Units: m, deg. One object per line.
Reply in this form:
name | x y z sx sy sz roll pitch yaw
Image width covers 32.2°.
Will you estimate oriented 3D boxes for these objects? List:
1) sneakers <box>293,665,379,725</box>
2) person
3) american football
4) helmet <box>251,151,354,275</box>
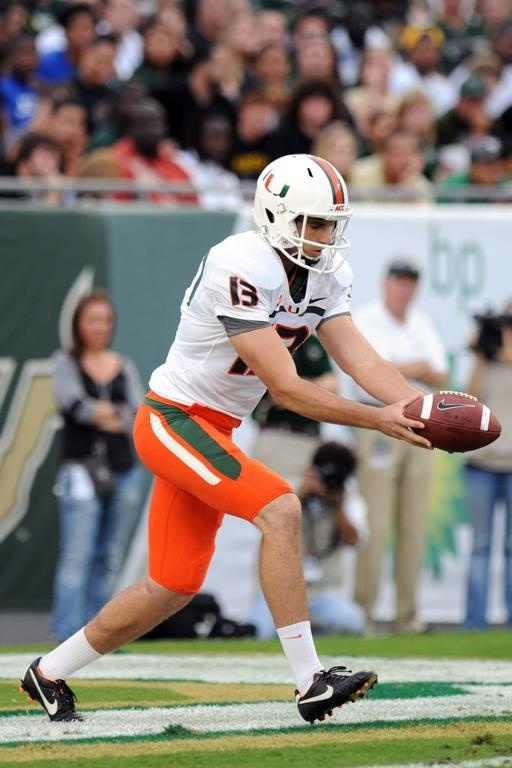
sneakers | 0.197 0.755 2.193 0.226 0.075 0.101 -37 47 20
person | 0.016 0.154 2.356 0.903 1.333 1.222 13 35 36
american football | 0.511 0.090 2.327 0.247 0.128 0.146 14 12 -1
helmet | 0.127 -0.504 2.527 0.256 0.264 0.309 -8 29 -32
